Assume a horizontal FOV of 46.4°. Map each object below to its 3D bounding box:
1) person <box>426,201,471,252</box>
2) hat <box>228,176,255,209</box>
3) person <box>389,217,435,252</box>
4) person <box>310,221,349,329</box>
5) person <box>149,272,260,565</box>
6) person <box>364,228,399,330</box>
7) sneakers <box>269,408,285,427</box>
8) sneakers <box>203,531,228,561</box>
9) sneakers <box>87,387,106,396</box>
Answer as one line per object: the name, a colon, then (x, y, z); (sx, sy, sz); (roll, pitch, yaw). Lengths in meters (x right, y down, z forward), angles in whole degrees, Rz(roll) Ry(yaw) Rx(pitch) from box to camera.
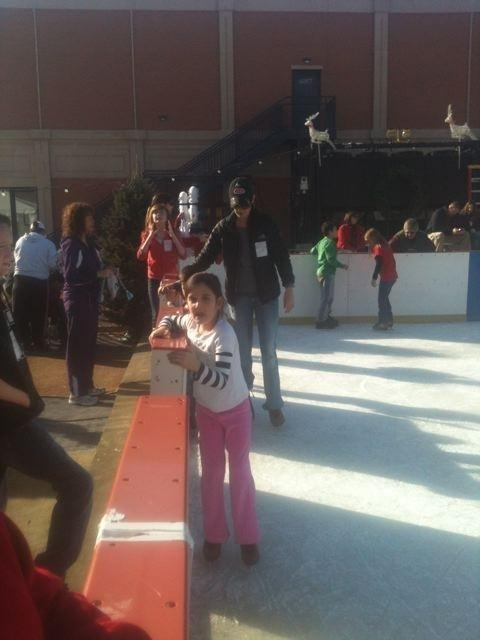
person: (3.657, -1.661, 9.861); (0.725, 0.853, 2.161); (1, 8, 21)
hat: (0.016, -0.879, 3.715); (0.121, 0.221, 0.152); (3, -13, -2)
person: (2.716, -1.333, 8.834); (0.635, 0.492, 0.328); (0, 7, 18)
person: (1.326, -0.678, 8.428); (0.464, 1.575, 0.675); (0, 7, 8)
person: (-0.153, 0.408, 2.409); (0.428, 1.215, 0.652); (-3, 7, -14)
person: (2.087, -0.615, 8.278); (0.429, 1.450, 0.640); (1, 7, 16)
sneakers: (0.265, 0.711, 4.043); (0.065, 0.147, 0.139); (-3, -21, -2)
sneakers: (-0.097, 0.956, 2.375); (0.065, 0.143, 0.123); (1, 4, 6)
sneakers: (-1.295, 0.659, 5.108); (0.135, 0.074, 0.050); (-3, 9, -22)
